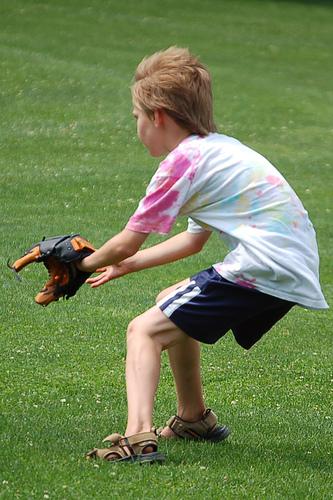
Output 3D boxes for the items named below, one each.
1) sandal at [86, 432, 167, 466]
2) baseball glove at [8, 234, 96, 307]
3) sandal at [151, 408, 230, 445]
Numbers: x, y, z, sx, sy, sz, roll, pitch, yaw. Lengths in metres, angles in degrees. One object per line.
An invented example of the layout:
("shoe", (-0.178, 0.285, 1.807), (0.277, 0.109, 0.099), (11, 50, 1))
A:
("sandal", (-0.182, 0.910, 2.812), (0.395, 0.119, 0.156), (1, -10, 11))
("baseball glove", (-0.567, 0.105, 3.153), (0.482, 0.378, 0.334), (2, -7, 16))
("sandal", (0.196, 1.029, 3.515), (0.370, 0.193, 0.150), (3, -7, 1))
